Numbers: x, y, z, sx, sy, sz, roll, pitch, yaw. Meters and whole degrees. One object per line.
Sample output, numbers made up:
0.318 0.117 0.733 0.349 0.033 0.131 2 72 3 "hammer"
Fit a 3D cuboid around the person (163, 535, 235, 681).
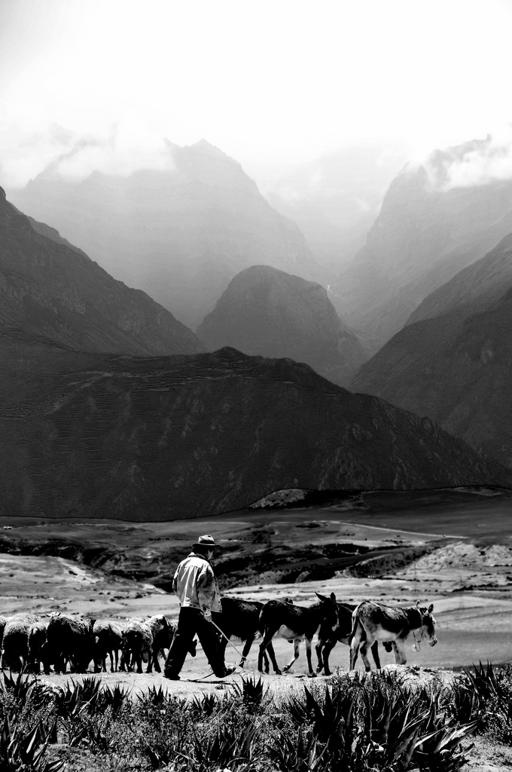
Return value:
-0.504 2.100 8.842 0.624 1.301 0.532 1 -9 -1 "person"
